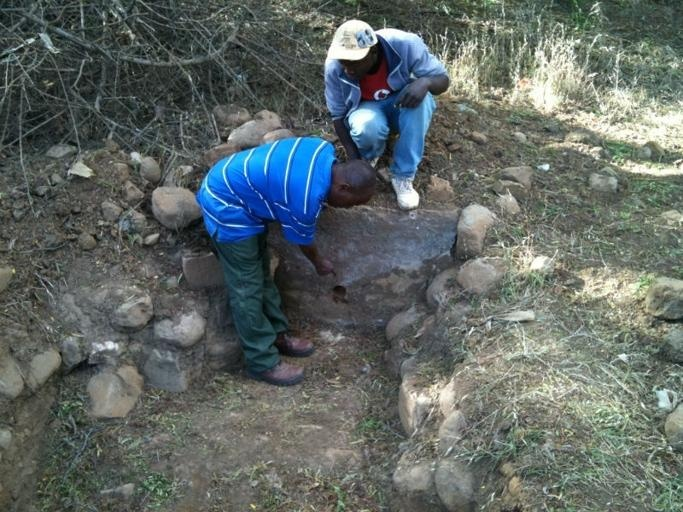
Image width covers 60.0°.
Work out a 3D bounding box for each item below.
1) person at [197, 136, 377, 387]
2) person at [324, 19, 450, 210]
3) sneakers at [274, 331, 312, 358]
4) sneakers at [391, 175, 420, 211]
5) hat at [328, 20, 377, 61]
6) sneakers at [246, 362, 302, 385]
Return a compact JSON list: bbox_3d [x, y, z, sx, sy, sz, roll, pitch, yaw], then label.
[{"bbox_3d":[-0.425,0.091,4.656,1.277,1.950,0.748,6,28,2],"label":"person"},{"bbox_3d":[0.346,-1.196,4.508,1.022,1.485,1.142,4,52,13],"label":"person"},{"bbox_3d":[-0.385,0.716,4.852,0.366,0.157,0.142,2,31,6],"label":"sneakers"},{"bbox_3d":[0.517,-0.484,4.815,0.150,0.308,0.181,-24,5,-4],"label":"sneakers"},{"bbox_3d":[0.085,-1.491,4.188,0.330,0.300,0.246,9,31,0],"label":"hat"},{"bbox_3d":[-0.513,0.912,4.566,0.365,0.165,0.190,1,24,2],"label":"sneakers"}]
